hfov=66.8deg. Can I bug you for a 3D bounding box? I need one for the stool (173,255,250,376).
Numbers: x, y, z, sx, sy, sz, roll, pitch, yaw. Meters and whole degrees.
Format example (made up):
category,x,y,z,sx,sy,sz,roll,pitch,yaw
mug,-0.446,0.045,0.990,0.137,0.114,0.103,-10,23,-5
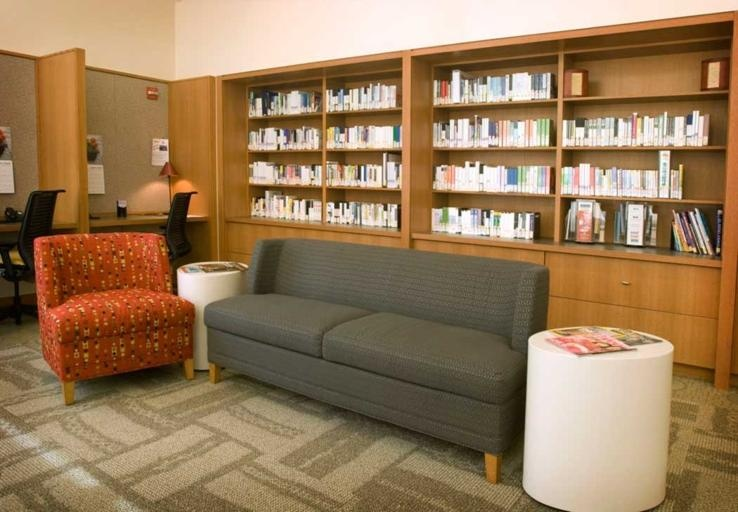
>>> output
category,x,y,z,sx,sy,sz,roll,pitch,yaw
stool,-1.273,0.482,5.238,0.835,1.286,0.879,1,8,0
